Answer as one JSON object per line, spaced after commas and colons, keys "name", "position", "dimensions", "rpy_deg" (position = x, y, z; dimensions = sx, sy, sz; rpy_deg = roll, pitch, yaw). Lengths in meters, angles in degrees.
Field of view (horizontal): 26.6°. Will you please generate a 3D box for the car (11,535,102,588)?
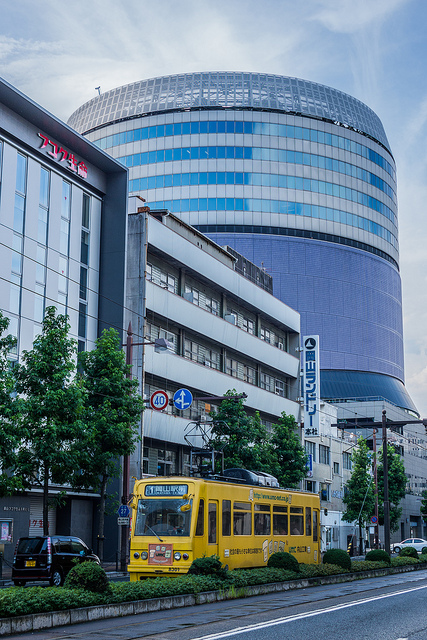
{"name": "car", "position": [-4.555, 6.731, 25.115], "dimensions": [1.199, 1.318, 2.301], "rpy_deg": [-7, -14, 31]}
